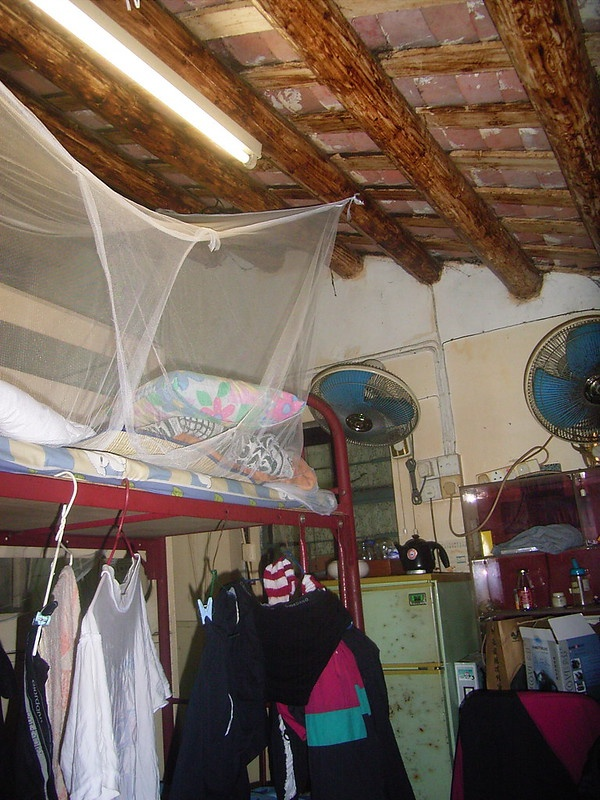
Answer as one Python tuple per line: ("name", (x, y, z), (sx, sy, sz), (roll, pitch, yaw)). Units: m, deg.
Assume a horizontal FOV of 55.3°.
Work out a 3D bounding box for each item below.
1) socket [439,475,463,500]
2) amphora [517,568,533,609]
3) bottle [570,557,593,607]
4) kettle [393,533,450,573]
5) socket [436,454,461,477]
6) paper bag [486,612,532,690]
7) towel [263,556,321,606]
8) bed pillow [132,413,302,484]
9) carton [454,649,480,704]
("socket", (0.891, 0.513, 3.368), (0.126, 0.133, 0.068), (-7, -15, 18))
("amphora", (1.143, 0.968, 2.921), (0.084, 0.178, 0.291), (-8, -15, 20))
("bottle", (1.363, 0.888, 2.792), (0.094, 0.204, 0.254), (-9, -15, 23))
("kettle", (0.645, 0.842, 3.099), (0.283, 0.182, 0.153), (-4, -14, 34))
("socket", (0.892, 0.398, 3.412), (0.120, 0.106, 0.041), (-15, -21, 34))
("paper bag", (0.957, 1.170, 2.620), (0.094, 0.255, 0.288), (-20, -24, 38))
("towel", (-0.027, 0.680, 2.155), (0.210, 0.170, 0.240), (-1, -14, -6))
("bed pillow", (-0.247, 0.210, 1.974), (0.260, 0.102, 0.353), (7, -15, 33))
("carton", (0.827, 1.337, 2.759), (0.074, 0.171, 0.209), (-14, -18, 34))
